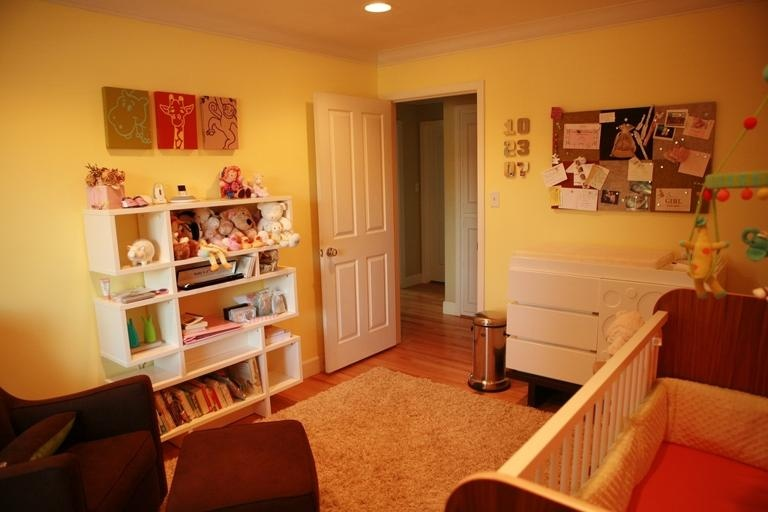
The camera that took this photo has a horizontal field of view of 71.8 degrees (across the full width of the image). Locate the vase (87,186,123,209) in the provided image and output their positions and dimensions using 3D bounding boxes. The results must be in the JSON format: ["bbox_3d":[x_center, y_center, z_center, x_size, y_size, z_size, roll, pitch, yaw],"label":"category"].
[{"bbox_3d":[-1.838,-0.386,3.447,0.264,0.150,0.129,1,13,14],"label":"vase"}]

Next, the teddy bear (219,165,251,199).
[{"bbox_3d":[-1.135,-0.578,4.025,0.246,0.278,0.249,8,14,24],"label":"teddy bear"}]

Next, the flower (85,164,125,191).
[{"bbox_3d":[-1.833,-0.509,3.471,0.176,0.107,0.218,-1,0,-38],"label":"flower"}]

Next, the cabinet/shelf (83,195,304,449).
[{"bbox_3d":[-1.385,0.444,3.713,0.513,1.946,1.666,4,9,34],"label":"cabinet/shelf"}]
